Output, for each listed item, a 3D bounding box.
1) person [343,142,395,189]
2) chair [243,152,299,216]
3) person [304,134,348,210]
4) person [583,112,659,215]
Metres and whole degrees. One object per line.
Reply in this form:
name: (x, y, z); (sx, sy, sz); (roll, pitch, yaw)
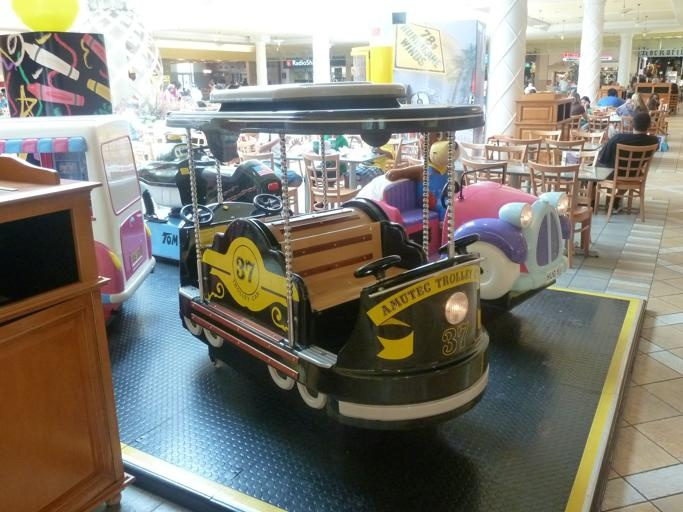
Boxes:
person: (0.357, -1.247, 6.706); (0.552, 0.338, 1.397); (11, 34, 22)
chair: (-1.093, -1.143, 7.423); (0.744, 0.877, 2.557); (-6, 20, -13)
person: (-0.172, -1.062, 6.715); (0.384, 0.743, 0.422); (3, -19, 12)
person: (4.705, -1.714, 7.915); (0.820, 1.613, 0.837); (-2, 44, 11)
